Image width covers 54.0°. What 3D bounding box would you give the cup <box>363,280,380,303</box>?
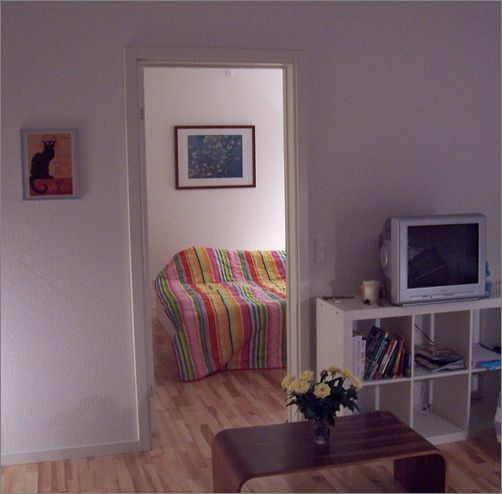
[{"bbox_3d":[0.653,0.247,2.721,0.098,0.121,0.096,-1,1,0],"label":"cup"}]

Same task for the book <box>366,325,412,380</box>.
[{"bbox_3d":[0.733,0.573,2.638,0.224,0.090,0.241,-2,4,-32],"label":"book"}]

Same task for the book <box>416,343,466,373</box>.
[{"bbox_3d":[1.059,0.648,2.841,0.270,0.081,0.259,-2,5,-17],"label":"book"}]

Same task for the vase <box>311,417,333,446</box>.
[{"bbox_3d":[0.268,0.709,1.873,0.085,0.160,0.094,-1,6,5],"label":"vase"}]

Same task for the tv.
[{"bbox_3d":[0.991,0.076,2.736,0.518,0.484,0.328,-2,1,-15],"label":"tv"}]

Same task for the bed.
[{"bbox_3d":[-0.201,0.512,4.783,1.437,0.904,1.791,-2,5,-12],"label":"bed"}]

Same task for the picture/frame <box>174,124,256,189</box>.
[{"bbox_3d":[-0.479,-1.092,5.812,0.673,0.574,0.033,-1,5,-9],"label":"picture/frame"}]

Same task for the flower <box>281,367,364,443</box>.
[{"bbox_3d":[0.276,0.620,1.932,0.297,0.316,0.302,5,-13,-12],"label":"flower"}]
